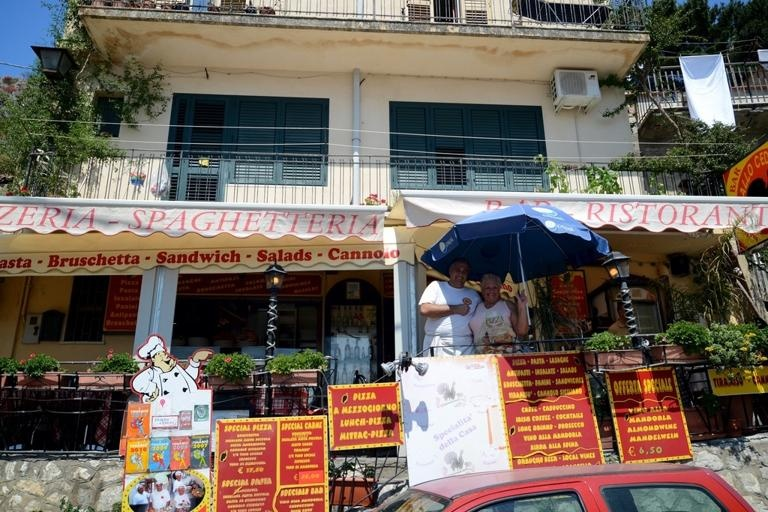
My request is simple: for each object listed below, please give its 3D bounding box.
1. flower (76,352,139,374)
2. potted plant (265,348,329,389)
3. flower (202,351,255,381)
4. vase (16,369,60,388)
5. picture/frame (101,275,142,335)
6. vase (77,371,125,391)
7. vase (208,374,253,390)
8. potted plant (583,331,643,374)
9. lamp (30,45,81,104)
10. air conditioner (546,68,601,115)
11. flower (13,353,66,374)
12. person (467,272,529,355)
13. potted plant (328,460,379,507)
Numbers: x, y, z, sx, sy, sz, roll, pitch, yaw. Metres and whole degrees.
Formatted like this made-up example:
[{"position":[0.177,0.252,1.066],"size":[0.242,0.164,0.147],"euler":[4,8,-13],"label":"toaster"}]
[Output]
[{"position":[-4.802,1.900,9.508],"size":[0.589,0.277,0.589],"euler":[0,0,31],"label":"flower"},{"position":[-1.436,1.827,8.853],"size":[1.003,0.571,0.291],"euler":[0,-8,-19],"label":"potted plant"},{"position":[-2.562,1.812,8.905],"size":[0.595,0.351,0.512],"euler":[5,-10,-16],"label":"flower"},{"position":[-5.886,2.072,9.084],"size":[0.701,0.258,0.088],"euler":[-3,-8,4],"label":"vase"},{"position":[-6.164,1.053,12.758],"size":[0.752,1.374,0.139],"euler":[1,-10,1],"label":"picture/frame"},{"position":[-4.801,2.090,9.160],"size":[0.429,0.151,0.425],"euler":[1,-2,-1],"label":"vase"},{"position":[-2.573,2.097,8.938],"size":[0.443,0.150,0.440],"euler":[1,-2,-5],"label":"vase"},{"position":[3.542,1.450,8.269],"size":[0.994,0.561,0.269],"euler":[-1,-8,-11],"label":"potted plant"},{"position":[-7.647,-4.360,12.242],"size":[0.973,0.512,0.980],"euler":[0,5,-7],"label":"lamp"},{"position":[4.980,-4.303,13.988],"size":[1.074,0.909,0.596],"euler":[1,-12,1],"label":"air conditioner"},{"position":[-5.915,1.839,9.334],"size":[0.456,0.334,0.503],"euler":[4,-1,-7],"label":"flower"},{"position":[1.927,0.915,8.763],"size":[0.737,1.298,1.011],"euler":[1,-8,-22],"label":"person"},{"position":[-0.477,3.507,8.352],"size":[0.629,0.602,0.589],"euler":[2,-13,-6],"label":"potted plant"}]
